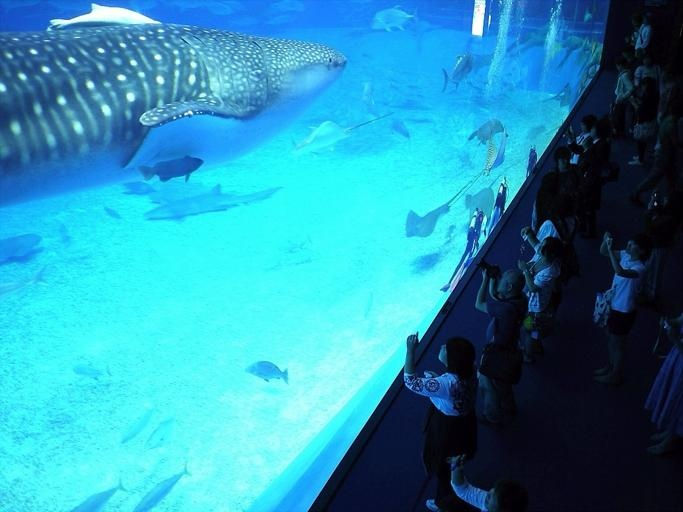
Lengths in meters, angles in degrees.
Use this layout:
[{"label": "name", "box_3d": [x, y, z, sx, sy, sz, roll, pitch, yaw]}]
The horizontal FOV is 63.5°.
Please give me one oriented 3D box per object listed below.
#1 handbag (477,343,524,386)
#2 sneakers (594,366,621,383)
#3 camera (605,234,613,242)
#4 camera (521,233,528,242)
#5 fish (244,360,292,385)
[{"label": "handbag", "box_3d": [1.092, 0.750, 3.866, 0.308, 0.288, 0.290, 7, 69, 8]}, {"label": "sneakers", "box_3d": [2.108, 0.946, 4.341, 0.207, 0.196, 0.090, 2, 59, 37]}, {"label": "camera", "box_3d": [2.298, -0.156, 4.722, 0.079, 0.022, 0.077, -1, 37, 2]}, {"label": "camera", "box_3d": [1.737, -0.178, 5.196, 0.015, 0.061, 0.055, 25, 16, -8]}, {"label": "fish", "box_3d": [-0.519, 0.814, 3.859, 0.397, 0.184, 0.105, 13, 1, -32]}]
